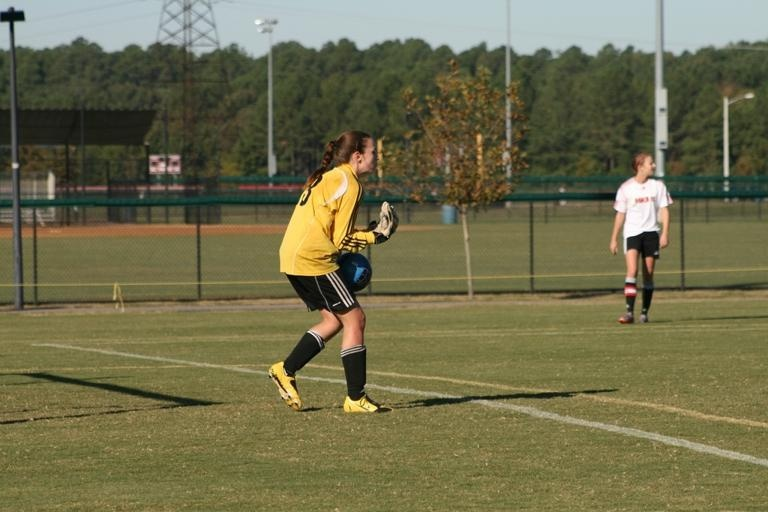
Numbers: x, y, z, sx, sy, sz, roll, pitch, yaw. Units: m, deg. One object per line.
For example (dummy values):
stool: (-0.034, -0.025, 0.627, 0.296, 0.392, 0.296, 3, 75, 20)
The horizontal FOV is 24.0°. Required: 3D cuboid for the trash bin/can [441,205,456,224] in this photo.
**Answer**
trash bin/can: (3.611, -2.441, 103.606, 1.074, 1.063, 1.018, -1, -1, 12)
